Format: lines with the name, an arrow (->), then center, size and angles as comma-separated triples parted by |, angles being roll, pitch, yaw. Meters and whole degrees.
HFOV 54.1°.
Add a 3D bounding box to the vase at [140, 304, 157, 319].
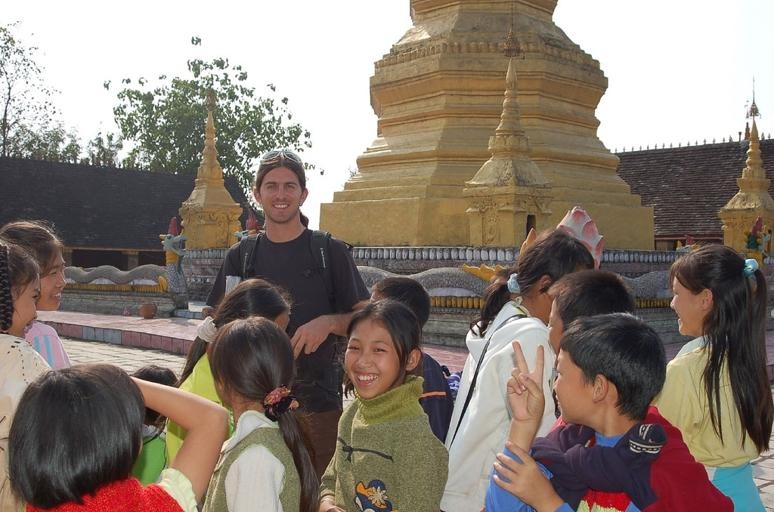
vase -> -3.914, 0.897, 12.465 | 0.235, 0.188, 0.245 | 11, 9, 16
